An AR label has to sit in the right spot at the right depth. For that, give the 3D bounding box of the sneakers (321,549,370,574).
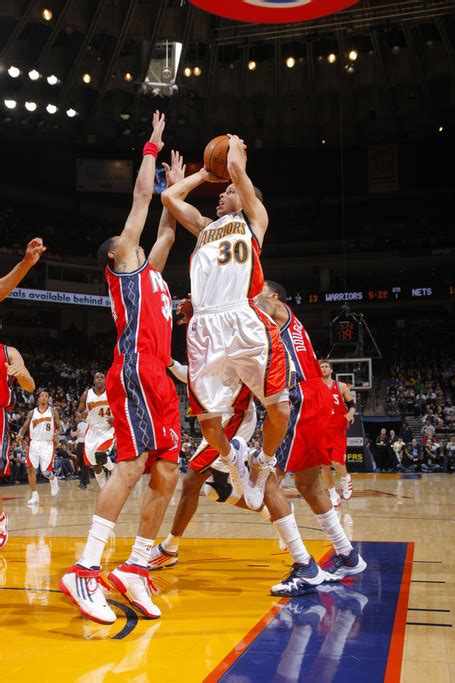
[{"bbox_3d":[0.707,1.329,3.414,0.257,0.166,0.164,2,-8,-4],"label":"sneakers"}]

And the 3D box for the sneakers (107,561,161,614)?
[{"bbox_3d":[-0.418,1.125,2.552,0.236,0.236,0.117,4,-8,-20],"label":"sneakers"}]

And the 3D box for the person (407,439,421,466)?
[{"bbox_3d":[5.007,3.089,15.388,0.369,0.664,1.026,-2,-8,19],"label":"person"}]

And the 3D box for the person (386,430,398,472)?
[{"bbox_3d":[4.436,2.933,15.308,0.285,1.015,0.859,-1,-8,15],"label":"person"}]

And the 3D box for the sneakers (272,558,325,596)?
[{"bbox_3d":[0.399,1.284,3.135,0.371,0.164,0.123,4,-12,-43],"label":"sneakers"}]

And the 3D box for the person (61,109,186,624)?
[{"bbox_3d":[-0.494,-0.095,3.035,0.507,2.952,1.097,2,-8,-4],"label":"person"}]

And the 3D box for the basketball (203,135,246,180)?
[{"bbox_3d":[-0.044,-1.072,3.344,0.291,0.341,0.286,2,24,0],"label":"basketball"}]

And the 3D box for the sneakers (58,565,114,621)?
[{"bbox_3d":[-0.592,1.067,2.388,0.218,0.229,0.174,3,-8,-16],"label":"sneakers"}]
